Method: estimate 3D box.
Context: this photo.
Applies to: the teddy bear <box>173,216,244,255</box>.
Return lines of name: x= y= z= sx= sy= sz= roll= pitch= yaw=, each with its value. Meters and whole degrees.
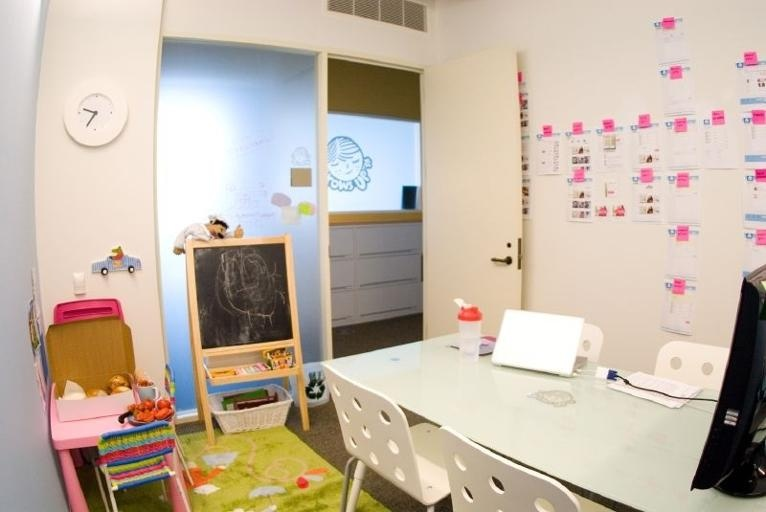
teddy bear: x=-1.306 y=-0.166 z=3.799 sx=0.515 sy=0.256 sz=0.198 roll=-5 pitch=12 yaw=-19

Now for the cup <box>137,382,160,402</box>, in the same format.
cup: x=-1.409 y=0.812 z=3.024 sx=0.135 sy=0.100 sz=0.088 roll=6 pitch=5 yaw=35

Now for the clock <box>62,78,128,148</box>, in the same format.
clock: x=-1.946 y=-0.961 z=3.410 sx=0.396 sy=0.486 sz=0.037 roll=-4 pitch=-15 yaw=-10

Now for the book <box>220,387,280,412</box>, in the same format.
book: x=-1.036 y=1.112 z=3.885 sx=0.264 sy=0.101 sz=0.190 roll=-7 pitch=10 yaw=-28

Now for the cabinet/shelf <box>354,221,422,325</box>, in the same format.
cabinet/shelf: x=-0.134 y=0.171 z=6.663 sx=1.249 sy=1.257 sz=0.713 roll=-6 pitch=15 yaw=-19

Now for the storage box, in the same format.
storage box: x=-1.888 y=0.716 z=3.299 sx=0.472 sy=0.634 sz=0.356 roll=-5 pitch=-14 yaw=-28

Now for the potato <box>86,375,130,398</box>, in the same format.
potato: x=-1.717 y=0.832 z=3.174 sx=0.180 sy=0.087 sz=0.149 roll=-3 pitch=24 yaw=-35

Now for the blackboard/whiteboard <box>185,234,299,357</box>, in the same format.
blackboard/whiteboard: x=-1.087 y=0.304 z=3.783 sx=0.824 sy=0.976 sz=0.106 roll=-5 pitch=2 yaw=-16

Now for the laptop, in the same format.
laptop: x=0.883 y=0.476 z=2.783 sx=0.458 sy=0.296 sz=0.358 roll=4 pitch=-2 yaw=32

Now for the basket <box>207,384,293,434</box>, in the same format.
basket: x=-0.987 y=1.203 z=3.846 sx=0.468 sy=0.180 sz=0.332 roll=-5 pitch=6 yaw=-25

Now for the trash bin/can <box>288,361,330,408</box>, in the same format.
trash bin/can: x=-0.594 y=1.086 z=4.349 sx=0.333 sy=0.326 sz=0.393 roll=-5 pitch=8 yaw=-11
